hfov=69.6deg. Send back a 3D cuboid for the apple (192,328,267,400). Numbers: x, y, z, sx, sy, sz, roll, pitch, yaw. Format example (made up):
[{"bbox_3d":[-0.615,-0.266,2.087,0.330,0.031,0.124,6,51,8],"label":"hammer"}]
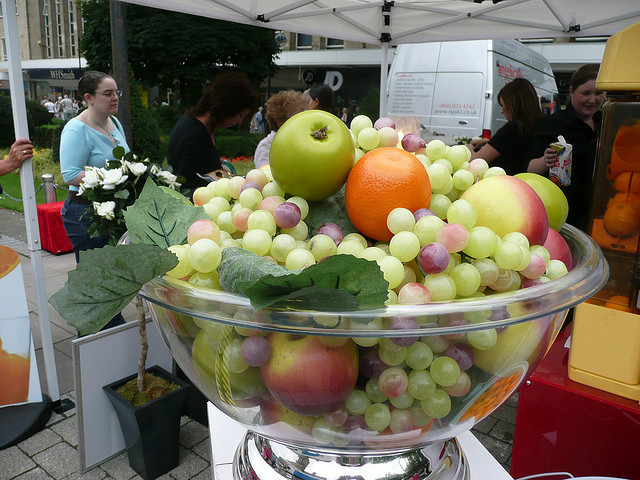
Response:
[{"bbox_3d":[-0.165,0.233,0.862,0.130,0.102,0.133,-11,19,-40],"label":"apple"}]

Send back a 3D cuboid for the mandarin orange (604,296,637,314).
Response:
[{"bbox_3d":[0.982,0.210,1.503,0.051,0.043,0.060,-7,9,-28],"label":"mandarin orange"}]

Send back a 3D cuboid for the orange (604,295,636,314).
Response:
[{"bbox_3d":[0.983,0.207,1.506,0.052,0.042,0.063,-1,7,7],"label":"orange"}]

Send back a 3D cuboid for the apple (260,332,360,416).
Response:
[{"bbox_3d":[-0.012,0.222,0.855,0.158,0.126,0.213,-2,13,-22],"label":"apple"}]

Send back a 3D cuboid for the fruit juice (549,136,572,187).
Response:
[{"bbox_3d":[1.203,-0.399,2.288,0.122,0.235,0.129,7,3,18],"label":"fruit juice"}]

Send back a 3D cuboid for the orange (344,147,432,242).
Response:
[{"bbox_3d":[0.152,-0.113,1.028,0.208,0.211,0.209,-6,9,-21],"label":"orange"}]

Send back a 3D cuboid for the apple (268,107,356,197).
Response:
[{"bbox_3d":[-0.016,-0.187,1.002,0.185,0.173,0.105,5,18,2],"label":"apple"}]
